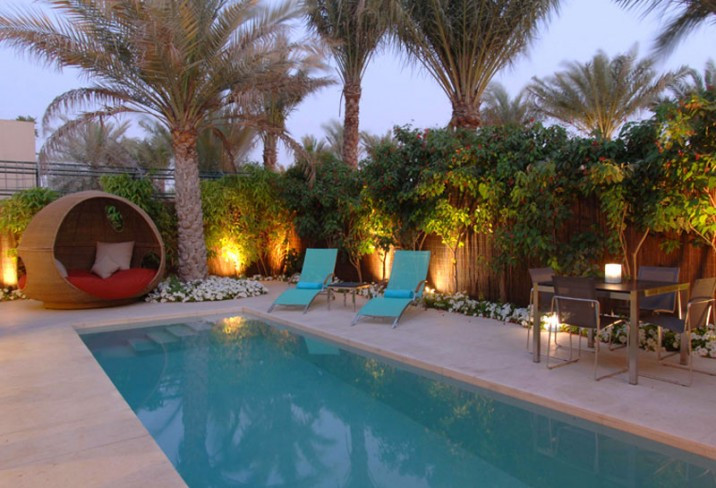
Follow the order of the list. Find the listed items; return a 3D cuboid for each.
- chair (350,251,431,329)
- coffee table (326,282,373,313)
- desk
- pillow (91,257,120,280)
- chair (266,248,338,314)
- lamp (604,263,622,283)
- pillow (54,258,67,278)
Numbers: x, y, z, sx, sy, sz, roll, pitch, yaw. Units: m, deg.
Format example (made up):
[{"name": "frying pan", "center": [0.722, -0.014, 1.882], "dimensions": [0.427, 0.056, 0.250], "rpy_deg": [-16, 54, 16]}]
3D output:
[{"name": "chair", "center": [0.810, 0.851, 9.582], "dimensions": [0.951, 1.322, 1.854], "rpy_deg": [5, 9, 21]}, {"name": "coffee table", "center": [-0.320, 1.066, 10.663], "dimensions": [0.603, 0.495, 0.876], "rpy_deg": [0, 2, 25]}, {"name": "desk", "center": [3.554, 1.142, 6.697], "dimensions": [2.146, 1.265, 1.002], "rpy_deg": [5, 9, 21]}, {"name": "pillow", "center": [-6.040, 0.570, 11.320], "dimensions": [0.579, 0.360, 0.659], "rpy_deg": [2, 8, -3]}, {"name": "chair", "center": [-1.085, 0.814, 10.647], "dimensions": [0.999, 1.318, 1.649], "rpy_deg": [5, 9, 18]}, {"name": "lamp", "center": [3.627, 0.419, 6.876], "dimensions": [0.257, 0.320, 0.273], "rpy_deg": [-1, -5, 15]}, {"name": "pillow", "center": [-6.545, 0.543, 10.489], "dimensions": [0.086, 0.302, 0.302], "rpy_deg": [-21, 9, -2]}]
